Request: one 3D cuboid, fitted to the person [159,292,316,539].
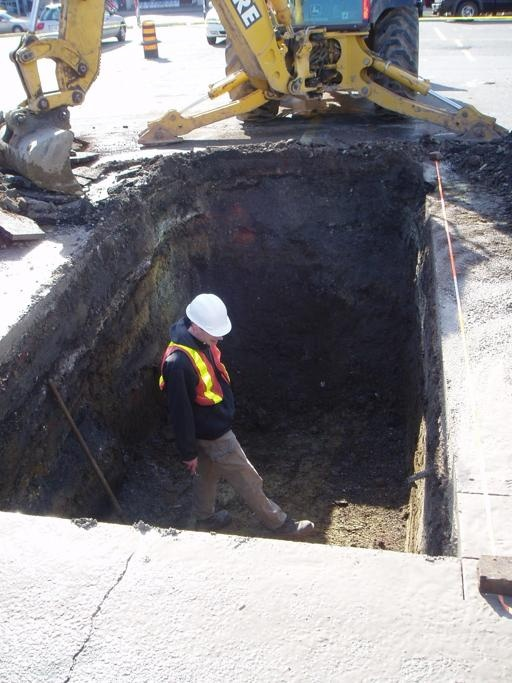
[{"bbox_3d":[-0.093,0.484,3.382,0.891,1.399,0.573,8,24,20],"label":"person"}]

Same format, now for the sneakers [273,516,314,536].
[{"bbox_3d":[0.231,1.085,3.652,0.199,0.060,0.106,-9,19,10],"label":"sneakers"}]
